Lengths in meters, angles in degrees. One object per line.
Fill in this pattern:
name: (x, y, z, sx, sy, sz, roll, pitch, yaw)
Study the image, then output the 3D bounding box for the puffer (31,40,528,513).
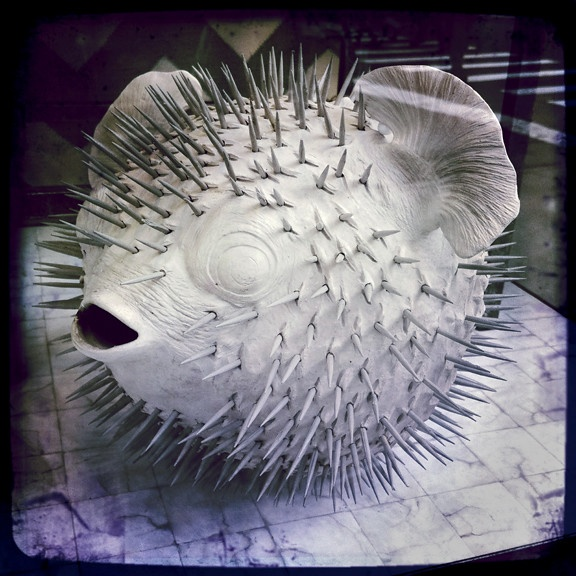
puffer: (-0.062, 0.031, 1.970, 1.374, 1.055, 1.046, 7, 101, -7)
